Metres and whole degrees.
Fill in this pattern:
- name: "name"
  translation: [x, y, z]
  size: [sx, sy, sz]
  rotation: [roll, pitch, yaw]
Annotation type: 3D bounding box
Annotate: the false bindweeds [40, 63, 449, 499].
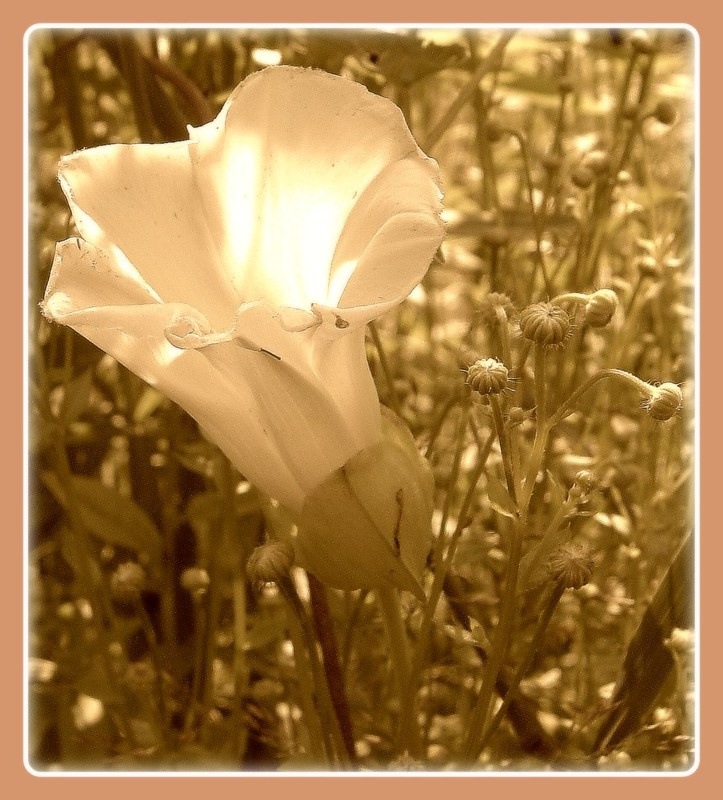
- name: "false bindweeds"
  translation: [-0.032, -0.049, 0.525]
  size: [0.147, 0.168, 0.165]
  rotation: [-25, 54, -19]
